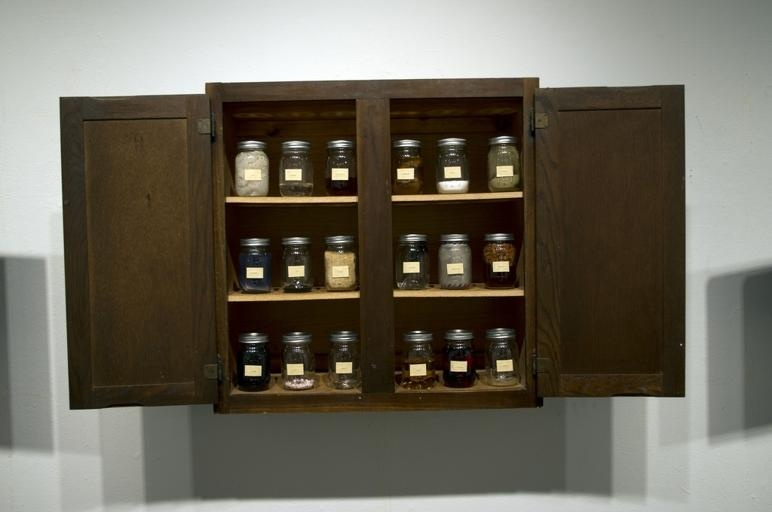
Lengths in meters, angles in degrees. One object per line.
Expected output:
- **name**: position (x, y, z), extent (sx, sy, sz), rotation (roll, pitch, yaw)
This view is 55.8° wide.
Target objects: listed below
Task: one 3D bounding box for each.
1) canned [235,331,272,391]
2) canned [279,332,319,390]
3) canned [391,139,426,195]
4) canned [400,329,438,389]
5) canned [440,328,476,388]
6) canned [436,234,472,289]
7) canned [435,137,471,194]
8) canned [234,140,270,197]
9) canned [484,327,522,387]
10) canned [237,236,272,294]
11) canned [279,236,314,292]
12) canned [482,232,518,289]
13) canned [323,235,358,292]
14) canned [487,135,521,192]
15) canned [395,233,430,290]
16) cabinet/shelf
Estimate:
- **canned**: position (-0.590, 0.473, 3.260), extent (0.155, 0.232, 0.158), rotation (4, 5, 40)
- **canned**: position (-0.398, 0.477, 3.295), extent (0.200, 0.229, 0.197), rotation (0, -4, 6)
- **canned**: position (0.097, -0.384, 3.280), extent (0.156, 0.237, 0.150), rotation (-2, 3, -2)
- **canned**: position (0.142, 0.466, 3.294), extent (0.168, 0.246, 0.167), rotation (2, 6, 9)
- **canned**: position (0.328, 0.460, 3.275), extent (0.154, 0.237, 0.153), rotation (0, 0, 19)
- **canned**: position (0.311, 0.031, 3.291), extent (0.152, 0.234, 0.147), rotation (-2, 0, 18)
- **canned**: position (0.302, -0.385, 3.300), extent (0.179, 0.253, 0.180), rotation (-8, -12, 33)
- **canned**: position (-0.600, -0.380, 3.263), extent (0.159, 0.249, 0.154), rotation (-3, 9, -22)
- **canned**: position (0.525, 0.453, 3.289), extent (0.164, 0.235, 0.160), rotation (-7, 5, -25)
- **canned**: position (-0.586, 0.040, 3.275), extent (0.151, 0.237, 0.151), rotation (9, 13, 35)
- **canned**: position (-0.402, 0.060, 3.309), extent (0.148, 0.244, 0.153), rotation (-9, -14, 25)
- **canned**: position (0.517, 0.024, 3.301), extent (0.149, 0.232, 0.148), rotation (-1, -1, -15)
- **canned**: position (-0.187, 0.040, 3.287), extent (0.169, 0.240, 0.164), rotation (-1, 6, -9)
- **canned**: position (0.532, -0.403, 3.270), extent (0.155, 0.226, 0.152), rotation (1, 6, 32)
- **canned**: position (0.125, 0.029, 3.302), extent (0.173, 0.236, 0.166), rotation (-6, 6, -31)
- **cabinet/shelf**: position (-0.058, -0.011, 3.375), extent (2.717, 1.463, 0.626), rotation (-2, -9, 2)
